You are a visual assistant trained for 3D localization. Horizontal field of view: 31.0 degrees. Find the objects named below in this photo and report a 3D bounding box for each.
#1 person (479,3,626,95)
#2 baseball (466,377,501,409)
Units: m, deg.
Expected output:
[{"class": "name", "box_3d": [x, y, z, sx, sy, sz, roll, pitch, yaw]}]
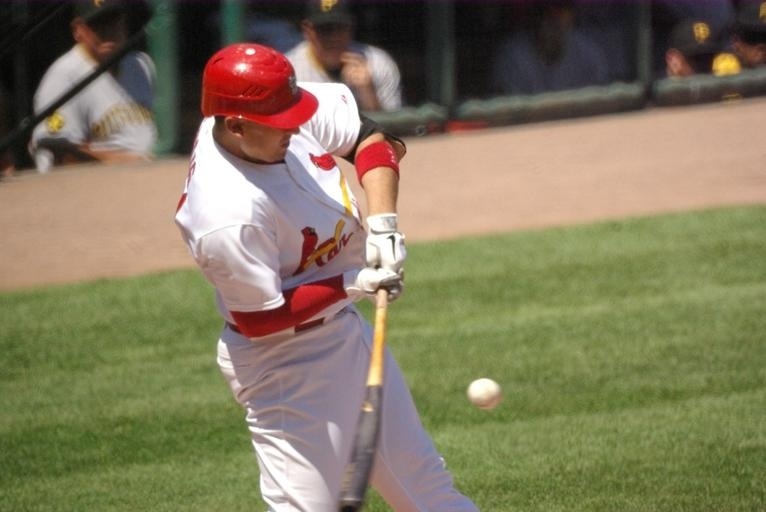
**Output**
[{"class": "person", "box_3d": [1.798, -2.270, 15.333, 1.678, 1.324, 0.845, -3, 57, -6]}, {"class": "baseball", "box_3d": [0.835, 1.130, 11.550, 0.247, 0.189, 0.252, 4, -7, -20]}]
